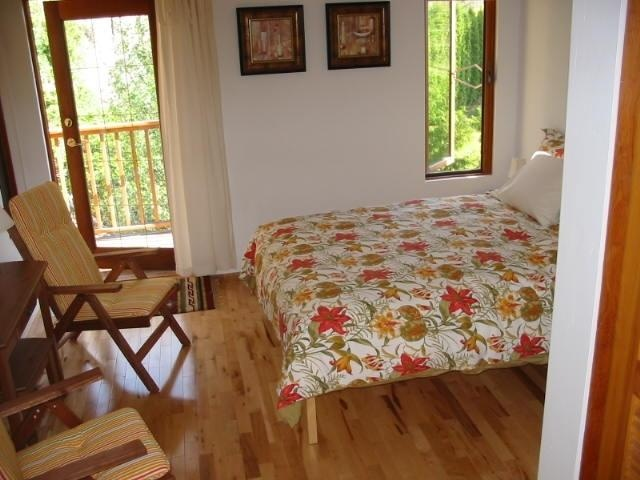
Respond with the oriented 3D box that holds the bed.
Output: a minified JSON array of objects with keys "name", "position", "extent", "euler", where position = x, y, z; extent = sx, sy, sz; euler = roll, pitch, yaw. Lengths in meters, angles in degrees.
[{"name":"bed","position":[0.538,0.238,3.042],"extent":[1.842,0.501,1.655],"euler":[-7,22,-11]}]

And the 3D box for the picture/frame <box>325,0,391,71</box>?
[{"name":"picture/frame","position":[0.328,-1.881,4.313],"extent":[0.593,0.584,0.042],"euler":[-3,13,-12]}]

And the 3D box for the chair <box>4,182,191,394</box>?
[{"name":"chair","position":[-1.510,0.165,3.350],"extent":[1.172,1.508,1.091],"euler":[1,16,-3]}]

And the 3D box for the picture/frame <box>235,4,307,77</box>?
[{"name":"picture/frame","position":[-0.455,-1.796,4.217],"extent":[0.599,0.574,0.050],"euler":[-3,13,-10]}]
